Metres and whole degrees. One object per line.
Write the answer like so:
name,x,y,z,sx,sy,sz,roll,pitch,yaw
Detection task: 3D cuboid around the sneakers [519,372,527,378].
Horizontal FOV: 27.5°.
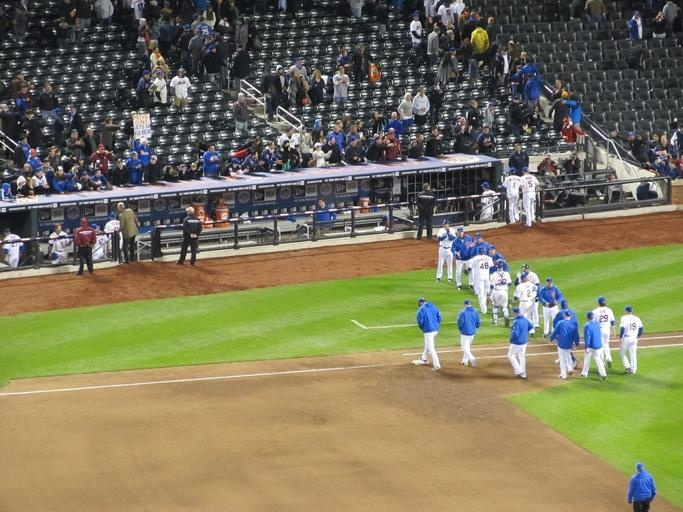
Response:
sneakers,5.466,3.627,42.030,0.133,0.154,0.390,-2,-6,7

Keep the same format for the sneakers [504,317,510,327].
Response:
sneakers,5.529,2.240,46.431,0.122,0.338,0.227,-3,2,-1

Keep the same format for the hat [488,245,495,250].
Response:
hat,5.079,-0.247,47.062,0.226,0.121,0.227,-2,2,21

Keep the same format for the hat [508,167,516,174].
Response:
hat,6.964,-3.452,56.806,0.230,0.251,0.265,0,-3,4

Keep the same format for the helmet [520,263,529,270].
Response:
helmet,5.963,0.395,45.274,0.238,0.173,0.341,-1,0,21

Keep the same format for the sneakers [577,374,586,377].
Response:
sneakers,7.316,3.655,42.137,0.222,0.113,0.238,-1,2,11

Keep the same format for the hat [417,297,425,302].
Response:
hat,2.456,1.405,42.316,0.158,0.188,0.200,-5,17,-17

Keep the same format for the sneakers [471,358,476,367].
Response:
sneakers,4.118,3.302,43.074,0.159,0.244,0.663,-2,2,7

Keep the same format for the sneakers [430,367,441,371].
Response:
sneakers,2.885,3.463,42.430,0.244,0.107,0.084,-12,14,-32

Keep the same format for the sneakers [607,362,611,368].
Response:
sneakers,8.236,3.384,42.839,0.168,0.160,0.150,-1,0,21

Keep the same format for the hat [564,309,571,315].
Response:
hat,6.793,1.720,41.666,0.287,0.175,0.145,-3,3,-41

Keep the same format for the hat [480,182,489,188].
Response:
hat,5.748,-2.787,55.793,0.244,0.189,0.327,-8,19,-31

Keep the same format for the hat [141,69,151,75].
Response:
hat,-7.833,-7.446,56.364,0.354,0.238,0.491,-8,8,-10

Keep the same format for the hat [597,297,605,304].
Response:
hat,8.106,1.410,43.462,0.189,0.230,0.230,3,32,9

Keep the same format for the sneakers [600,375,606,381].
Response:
sneakers,7.873,3.702,41.930,0.155,0.173,0.413,-3,-5,-4

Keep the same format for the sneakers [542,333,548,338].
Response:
sneakers,6.706,2.653,45.796,0.127,0.106,0.144,0,10,10

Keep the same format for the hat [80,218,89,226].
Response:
hat,-9.035,-1.150,49.355,0.297,0.313,0.338,-5,20,-23

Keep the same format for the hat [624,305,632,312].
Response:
hat,8.853,1.650,43.011,0.186,0.272,0.159,-20,27,-22

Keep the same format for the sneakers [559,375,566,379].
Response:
sneakers,6.701,3.683,41.992,0.200,0.152,0.210,-2,2,9

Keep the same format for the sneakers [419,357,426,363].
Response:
sneakers,2.544,3.254,42.826,0.219,0.199,0.420,-2,2,4

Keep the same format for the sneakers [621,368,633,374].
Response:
sneakers,8.720,3.530,42.386,0.116,0.129,0.308,-7,13,-28

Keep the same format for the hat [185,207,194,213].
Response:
hat,-5.476,-1.633,50.662,0.261,0.271,0.335,6,-2,-10

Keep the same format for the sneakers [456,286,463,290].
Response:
sneakers,4.209,1.152,49.260,0.101,0.148,0.155,1,7,-15

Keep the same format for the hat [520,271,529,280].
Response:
hat,5.930,0.699,45.040,0.188,0.293,0.395,-1,2,27

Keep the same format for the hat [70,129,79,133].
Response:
hat,-10.228,-4.799,53.518,0.220,0.090,0.250,5,9,17

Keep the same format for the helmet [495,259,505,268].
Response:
helmet,5.222,0.246,45.877,0.383,0.209,0.290,5,-2,-3

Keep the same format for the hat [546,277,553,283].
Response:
hat,6.644,0.839,44.485,0.221,0.178,0.306,-3,13,3

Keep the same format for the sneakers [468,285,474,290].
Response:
sneakers,4.585,1.139,49.183,0.161,0.130,0.245,-6,2,6

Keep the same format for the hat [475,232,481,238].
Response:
hat,4.688,-0.648,47.700,0.205,0.148,0.289,2,12,2
